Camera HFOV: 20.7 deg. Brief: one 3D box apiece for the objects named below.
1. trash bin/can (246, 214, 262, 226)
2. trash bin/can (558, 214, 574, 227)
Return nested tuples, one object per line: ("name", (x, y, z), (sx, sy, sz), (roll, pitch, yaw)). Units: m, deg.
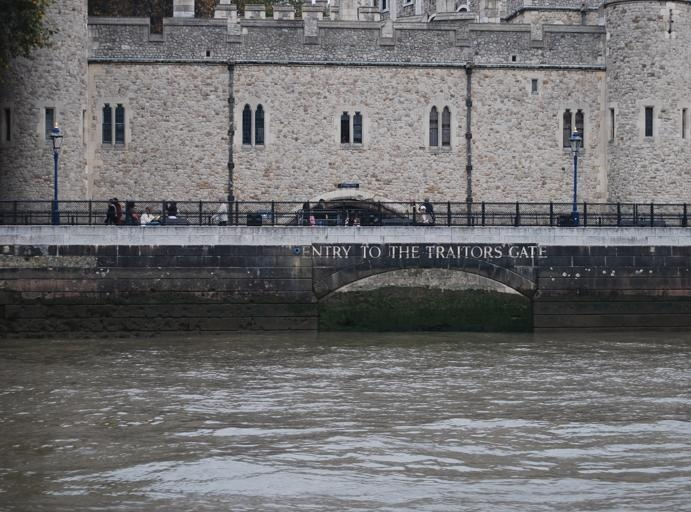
("trash bin/can", (-3.131, -1.213, 62.515), (0.447, 0.357, 0.328), (0, -1, -9))
("trash bin/can", (7.151, -1.168, 63.015), (0.545, 0.446, 0.674), (0, -1, 3))
